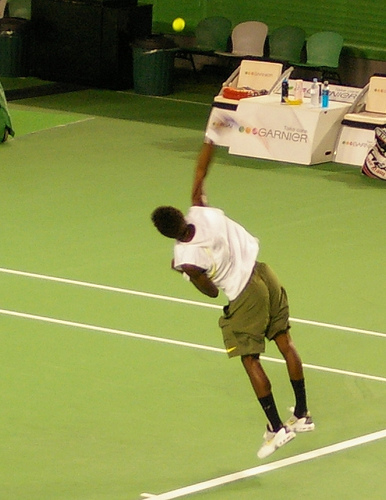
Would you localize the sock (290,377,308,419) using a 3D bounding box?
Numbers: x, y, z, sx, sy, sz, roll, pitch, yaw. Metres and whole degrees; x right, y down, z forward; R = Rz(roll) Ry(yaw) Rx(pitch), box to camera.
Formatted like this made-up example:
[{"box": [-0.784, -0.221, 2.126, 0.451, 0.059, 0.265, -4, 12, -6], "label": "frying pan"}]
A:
[{"box": [0.556, 0.764, 2.691, 0.089, 0.219, 0.122, 3, 16, 12], "label": "sock"}]

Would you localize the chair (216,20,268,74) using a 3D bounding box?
[{"box": [1.318, -5.601, 14.037, 1.324, 1.192, 3.303, 0, 14, 2], "label": "chair"}]

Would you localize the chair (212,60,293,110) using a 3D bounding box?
[{"box": [1.153, -3.072, 10.131, 1.216, 0.908, 1.495, 15, 34, 23], "label": "chair"}]

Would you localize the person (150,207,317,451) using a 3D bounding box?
[{"box": [0.235, 0.424, 2.553, 0.755, 1.307, 0.439, 3, 16, 11], "label": "person"}]

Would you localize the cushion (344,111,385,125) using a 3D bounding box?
[{"box": [3.023, -2.298, 8.927, 0.457, 0.088, 0.421, 8, 10, 25], "label": "cushion"}]

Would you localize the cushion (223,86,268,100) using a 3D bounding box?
[{"box": [1.004, -2.953, 9.714, 0.547, 0.136, 0.533, 6, 10, 34], "label": "cushion"}]

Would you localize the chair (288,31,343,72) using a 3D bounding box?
[{"box": [3.192, -5.048, 13.056, 1.097, 1.272, 1.174, -16, 32, -36], "label": "chair"}]

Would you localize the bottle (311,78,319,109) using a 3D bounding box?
[{"box": [2.117, -2.704, 8.895, 0.140, 0.514, 0.369, 3, 15, 11], "label": "bottle"}]

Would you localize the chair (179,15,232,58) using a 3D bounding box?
[{"box": [0.303, -5.897, 14.090, 1.057, 1.345, 1.074, 21, 31, 25], "label": "chair"}]
